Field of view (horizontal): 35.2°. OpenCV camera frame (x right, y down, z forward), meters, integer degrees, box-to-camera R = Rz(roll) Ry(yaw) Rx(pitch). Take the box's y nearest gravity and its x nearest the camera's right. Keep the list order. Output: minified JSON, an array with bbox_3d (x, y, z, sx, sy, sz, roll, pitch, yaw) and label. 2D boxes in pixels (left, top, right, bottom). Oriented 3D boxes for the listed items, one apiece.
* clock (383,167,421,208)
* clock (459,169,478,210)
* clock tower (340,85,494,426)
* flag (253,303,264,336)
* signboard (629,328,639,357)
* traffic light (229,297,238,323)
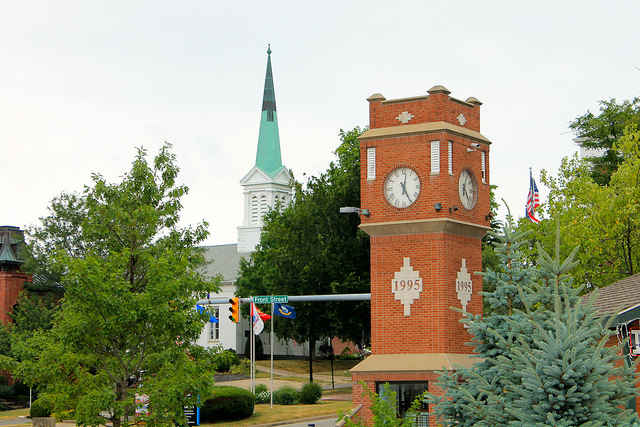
[{"bbox_3d":[3.271,-0.974,39.316,1.539,1.700,0.179,-2,-6,17],"label":"clock"},{"bbox_3d":[5.750,-0.948,39.738,0.147,1.547,1.581,-4,-11,31],"label":"clock"},{"bbox_3d":[3.943,1.526,39.049,4.818,12.701,2.706,0,-16,2],"label":"clock tower"},{"bbox_3d":[-3.184,5.470,52.788,0.488,1.608,1.156,2,-16,-6],"label":"flag"},{"bbox_3d":[10.724,4.403,34.541,0.340,0.968,0.199,-4,-16,16],"label":"signboard"},{"bbox_3d":[-4.047,4.617,48.552,0.351,1.209,0.865,1,-16,-3],"label":"traffic light"}]
